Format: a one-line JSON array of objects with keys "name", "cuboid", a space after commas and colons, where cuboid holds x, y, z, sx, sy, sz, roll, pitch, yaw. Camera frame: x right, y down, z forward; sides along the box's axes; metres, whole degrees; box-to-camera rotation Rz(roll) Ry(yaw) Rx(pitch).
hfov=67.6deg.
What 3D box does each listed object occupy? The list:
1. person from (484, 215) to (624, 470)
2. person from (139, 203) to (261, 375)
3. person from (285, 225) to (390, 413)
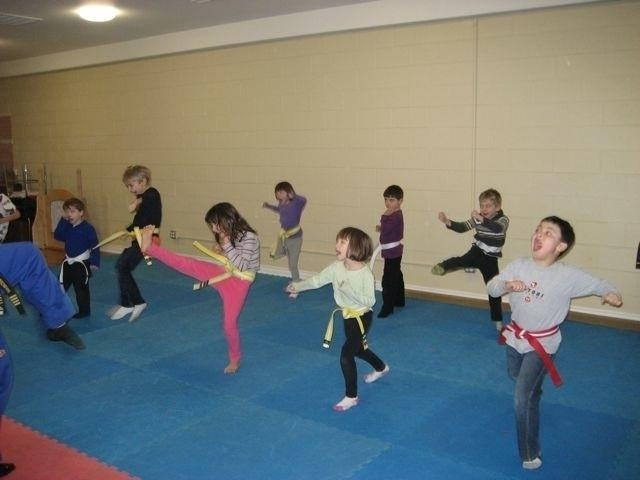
[{"name": "person", "cuboid": [1.642, 0.749, 3.539, 0.758, 1.818, 0.548, 1, 11, 4]}, {"name": "person", "cuboid": [-1.109, 0.507, 4.893, 0.952, 1.761, 0.362, -1, 11, -2]}, {"name": "person", "cuboid": [0.229, 0.683, 4.429, 0.618, 1.591, 0.735, 4, 12, 22]}]
